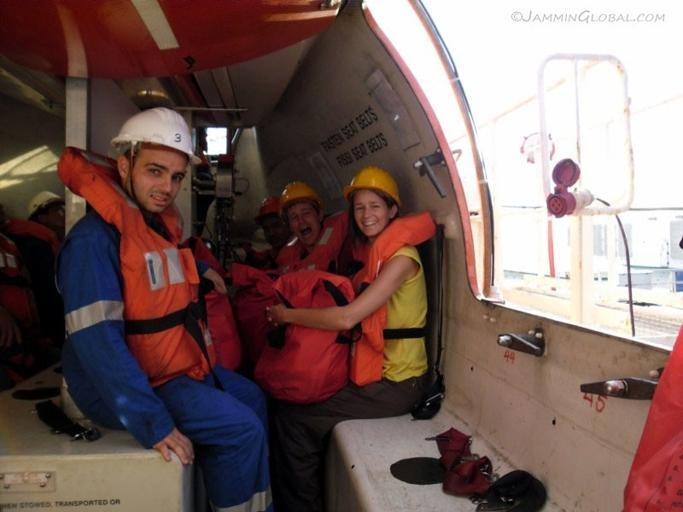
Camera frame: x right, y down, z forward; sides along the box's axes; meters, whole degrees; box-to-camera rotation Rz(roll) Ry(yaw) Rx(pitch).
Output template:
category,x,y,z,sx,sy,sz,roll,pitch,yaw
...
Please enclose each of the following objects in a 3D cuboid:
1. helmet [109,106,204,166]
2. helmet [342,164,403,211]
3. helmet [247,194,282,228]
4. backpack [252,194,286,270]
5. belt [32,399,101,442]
category,x,y,z,sx,sy,sz,roll,pitch,yaw
helmet,-0.977,-0.646,2.690,0.341,0.201,0.259,0,9,-10
helmet,0.229,-0.534,3.561,0.330,0.243,0.432,6,0,8
helmet,-0.779,-0.502,5.253,0.344,0.203,0.277,-21,-4,38
backpack,-0.774,-0.265,5.145,0.438,0.351,0.673,0,-39,9
belt,-1.484,0.869,2.665,0.542,0.117,0.169,1,-1,33
